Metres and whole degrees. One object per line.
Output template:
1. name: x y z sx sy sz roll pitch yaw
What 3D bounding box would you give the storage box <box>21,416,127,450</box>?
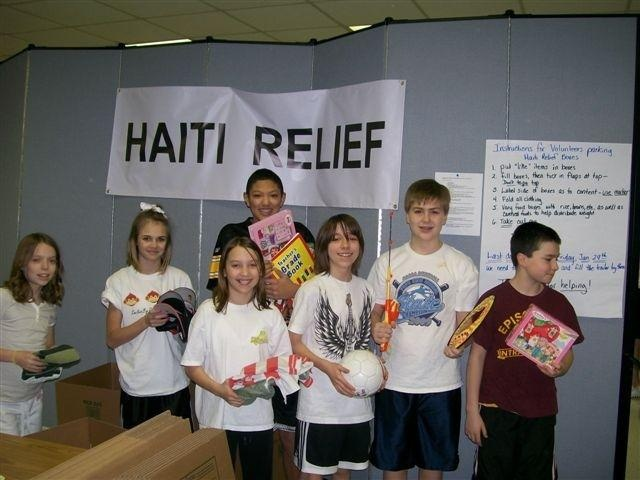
1. storage box: -1.451 1.276 3.378 0.494 0.285 0.516 7 -16 -15

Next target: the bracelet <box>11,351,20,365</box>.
1. bracelet: -1.828 0.706 3.203 0.047 0.074 0.021 2 2 28

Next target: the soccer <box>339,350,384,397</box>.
1. soccer: 0.219 0.750 3.024 0.226 0.281 0.234 -6 -34 -2
